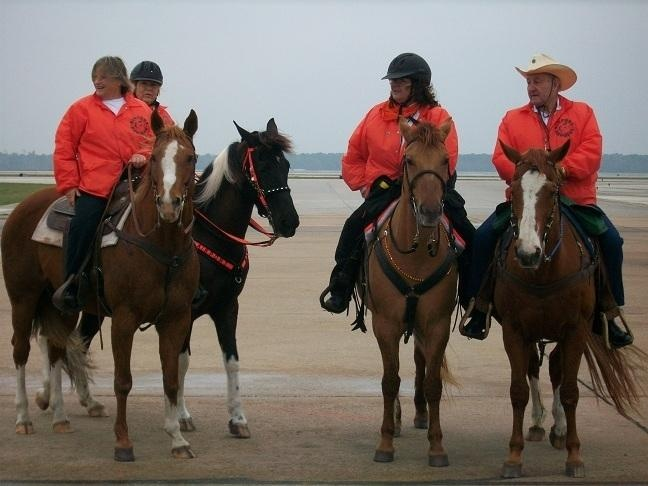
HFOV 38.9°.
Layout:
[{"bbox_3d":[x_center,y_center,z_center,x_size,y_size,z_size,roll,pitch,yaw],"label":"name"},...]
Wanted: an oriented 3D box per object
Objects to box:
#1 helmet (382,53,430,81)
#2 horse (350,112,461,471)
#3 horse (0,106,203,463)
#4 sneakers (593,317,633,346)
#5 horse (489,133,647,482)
[{"bbox_3d":[1.047,-2.136,11.097,0.446,0.313,0.274,0,9,3],"label":"helmet"},{"bbox_3d":[0.979,0.514,10.493,1.003,3.831,1.474,0,9,3],"label":"horse"},{"bbox_3d":[-2.131,0.403,10.703,2.581,3.873,1.013,7,11,38],"label":"horse"},{"bbox_3d":[2.975,1.019,10.688,0.210,0.241,0.596,-12,13,-31],"label":"sneakers"},{"bbox_3d":[2.523,0.656,10.360,1.273,3.636,2.054,4,10,27],"label":"horse"}]
